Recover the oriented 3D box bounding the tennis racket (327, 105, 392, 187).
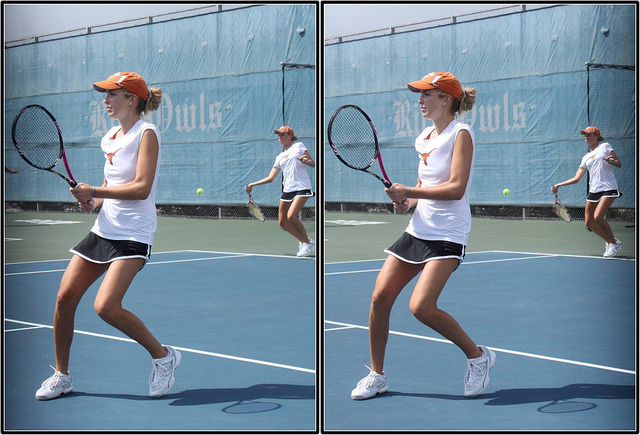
[{"bbox_3d":[0.275,-0.586,4.032,0.319,0.042,0.793,-17,62,-33],"label":"tennis racket"}]

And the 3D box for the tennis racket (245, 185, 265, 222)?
[{"bbox_3d":[-1.545,-0.391,13.472,0.531,0.111,1.224,45,8,-36],"label":"tennis racket"}]

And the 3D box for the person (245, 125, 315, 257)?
[{"bbox_3d":[-0.542,-0.413,9.414,0.938,2.202,1.295,1,9,-5],"label":"person"}]

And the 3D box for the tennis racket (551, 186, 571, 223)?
[{"bbox_3d":[5.564,-0.357,12.826,0.512,0.089,1.181,40,18,-19],"label":"tennis racket"}]

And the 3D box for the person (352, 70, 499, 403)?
[{"bbox_3d":[0.775,0.116,3.804,0.916,2.184,1.004,5,9,16],"label":"person"}]

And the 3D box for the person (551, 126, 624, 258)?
[{"bbox_3d":[4.546,-0.447,9.223,0.968,2.069,1.273,6,9,23],"label":"person"}]

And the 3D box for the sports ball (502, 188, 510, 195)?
[{"bbox_3d":[5.337,-0.753,16.005,0.170,0.153,0.135,-4,0,-7],"label":"sports ball"}]
